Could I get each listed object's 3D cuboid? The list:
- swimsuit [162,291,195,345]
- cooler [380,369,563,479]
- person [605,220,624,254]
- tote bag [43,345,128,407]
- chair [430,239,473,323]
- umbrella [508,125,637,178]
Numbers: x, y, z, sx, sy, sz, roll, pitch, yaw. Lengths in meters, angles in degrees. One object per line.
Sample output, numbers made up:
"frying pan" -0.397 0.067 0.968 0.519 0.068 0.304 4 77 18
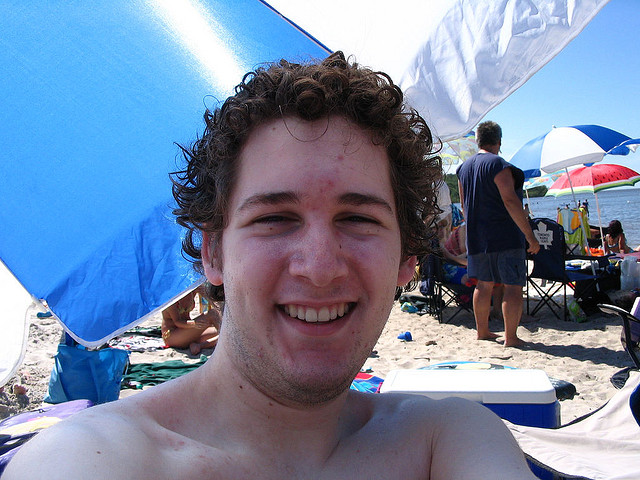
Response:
"swimsuit" -1.727 0.976 6.396 0.389 0.611 0.716 -3 6 -17
"cooler" 1.048 1.281 3.271 0.890 0.668 0.613 -1 1 5
"person" 6.753 -0.090 11.980 0.381 0.676 1.168 2 6 29
"tote bag" -1.596 0.956 3.696 0.423 0.482 0.441 4 -11 11
"chair" 1.761 0.632 7.419 0.551 1.080 0.614 -11 12 -34
"umbrella" 5.293 -1.811 10.890 1.946 0.739 2.055 -21 2 16
